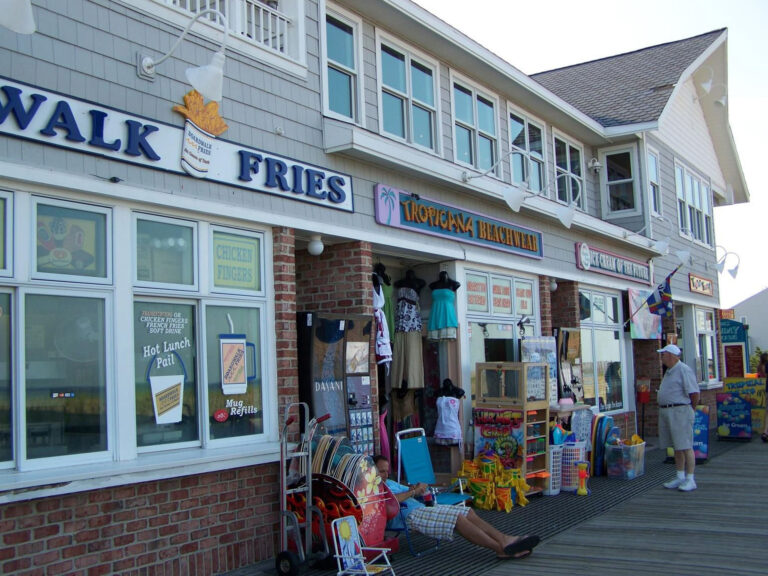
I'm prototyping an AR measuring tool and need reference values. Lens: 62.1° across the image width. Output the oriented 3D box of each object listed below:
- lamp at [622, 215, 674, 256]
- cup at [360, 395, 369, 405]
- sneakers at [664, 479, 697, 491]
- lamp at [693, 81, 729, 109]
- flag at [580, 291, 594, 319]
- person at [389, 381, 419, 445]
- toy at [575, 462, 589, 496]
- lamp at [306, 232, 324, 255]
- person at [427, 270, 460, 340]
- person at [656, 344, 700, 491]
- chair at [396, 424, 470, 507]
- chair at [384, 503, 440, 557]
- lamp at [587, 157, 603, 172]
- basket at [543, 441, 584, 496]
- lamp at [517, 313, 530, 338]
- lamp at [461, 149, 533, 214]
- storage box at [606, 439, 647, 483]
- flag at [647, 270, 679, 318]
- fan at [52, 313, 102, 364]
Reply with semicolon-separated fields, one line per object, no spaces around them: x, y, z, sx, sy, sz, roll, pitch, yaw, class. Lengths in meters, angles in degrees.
6.439;-1.210;15.617;1.305;1.317;0.306;-4;-3;-39;lamp
-0.232;1.433;8.211;0.111;0.120;0.119;0;-5;0;cup
4.584;3.021;9.796;0.228;0.171;0.372;-9;-20;39;sneakers
9.593;-5.691;18.627;0.721;0.485;1.184;-8;-14;13;lamp
4.344;0.372;13.713;0.061;0.602;0.563;-2;-1;38;flag
0.321;2.003;9.858;0.491;0.983;0.187;-6;13;-13;person
3.028;2.882;9.741;0.174;0.444;0.405;-6;-9;16;toy
-0.851;-0.543;8.060;0.195;0.209;0.363;-3;-9;-7;lamp
0.937;0.273;9.916;0.507;1.045;0.325;-4;-9;5;person
4.730;1.995;10.263;0.640;2.238;1.218;-7;-10;25;person
0.595;2.295;8.215;0.878;1.000;0.654;-17;-14;40;chair
0.281;2.720;7.211;0.519;0.821;0.512;-10;-13;37;chair
5.115;-2.988;15.456;0.232;0.376;0.501;-9;-11;32;lamp
2.730;2.706;9.990;0.610;0.960;0.767;-5;-8;42;basket
2.521;0.692;11.547;0.283;0.563;0.437;0;-5;12;lamp
1.817;-1.688;9.859;1.201;0.365;1.125;13;-38;19;lamp
4.195;3.057;11.064;0.665;0.515;0.716;-8;-32;42;storage box
7.043;0.054;16.127;0.688;1.244;2.281;-8;-10;26;flag
-2.768;0.467;5.802;0.073;0.419;0.440;-9;-11;36;fan
